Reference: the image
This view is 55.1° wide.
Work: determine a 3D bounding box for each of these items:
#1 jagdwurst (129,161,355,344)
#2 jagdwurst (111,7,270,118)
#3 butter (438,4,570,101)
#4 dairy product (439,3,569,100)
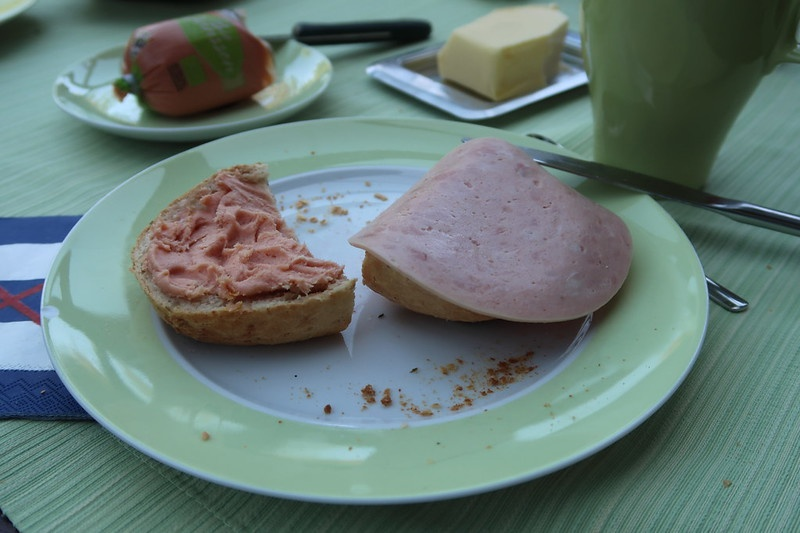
[{"bbox_3d":[-0.305,-0.001,1.426,0.284,0.126,0.375,-17,47,-18],"label":"jagdwurst"},{"bbox_3d":[-0.460,-0.465,1.782,0.338,0.187,0.207,-24,59,-32],"label":"jagdwurst"},{"bbox_3d":[0.272,-0.542,1.883,0.276,0.105,0.221,-32,53,-30],"label":"butter"},{"bbox_3d":[0.252,-0.529,1.869,0.274,0.104,0.220,-32,52,-30],"label":"dairy product"}]
